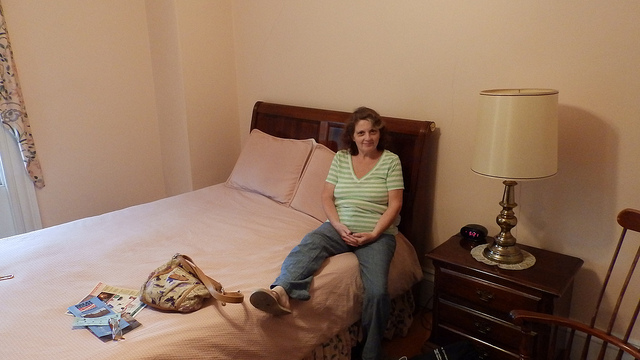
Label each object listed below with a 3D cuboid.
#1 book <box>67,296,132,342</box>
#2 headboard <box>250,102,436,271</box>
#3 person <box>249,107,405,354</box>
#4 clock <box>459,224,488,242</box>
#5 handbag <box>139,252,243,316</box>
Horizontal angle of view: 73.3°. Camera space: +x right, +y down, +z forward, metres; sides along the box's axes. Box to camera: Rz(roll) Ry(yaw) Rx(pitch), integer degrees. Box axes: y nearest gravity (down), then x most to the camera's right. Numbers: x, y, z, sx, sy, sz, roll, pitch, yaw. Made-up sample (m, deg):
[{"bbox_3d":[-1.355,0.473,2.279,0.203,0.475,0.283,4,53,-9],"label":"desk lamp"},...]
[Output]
[{"bbox_3d":[-1.479,0.907,2.855,0.370,0.024,0.211,24,34,34],"label":"book"},{"bbox_3d":[0.269,0.169,4.095,1.018,1.762,1.204,8,18,33],"label":"headboard"},{"bbox_3d":[0.323,0.328,3.458,1.114,1.364,2.128,11,37,13],"label":"person"},{"bbox_3d":[1.233,0.424,3.477,0.196,0.093,0.136,7,14,38],"label":"clock"},{"bbox_3d":[-0.893,0.724,2.986,0.576,0.222,0.391,14,9,-13],"label":"handbag"}]
